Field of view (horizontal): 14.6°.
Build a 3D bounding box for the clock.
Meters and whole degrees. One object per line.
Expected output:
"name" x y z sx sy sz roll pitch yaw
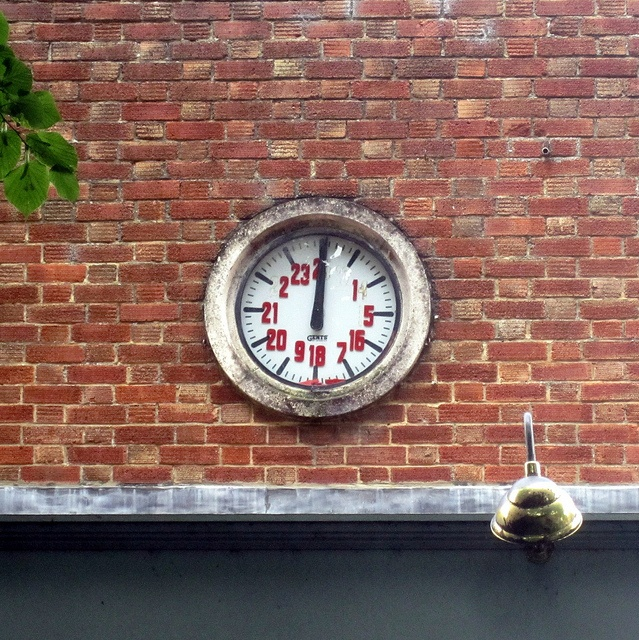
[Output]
"clock" 0.012 -0.018 12.305 1.037 0.089 1.087 2 82 1
